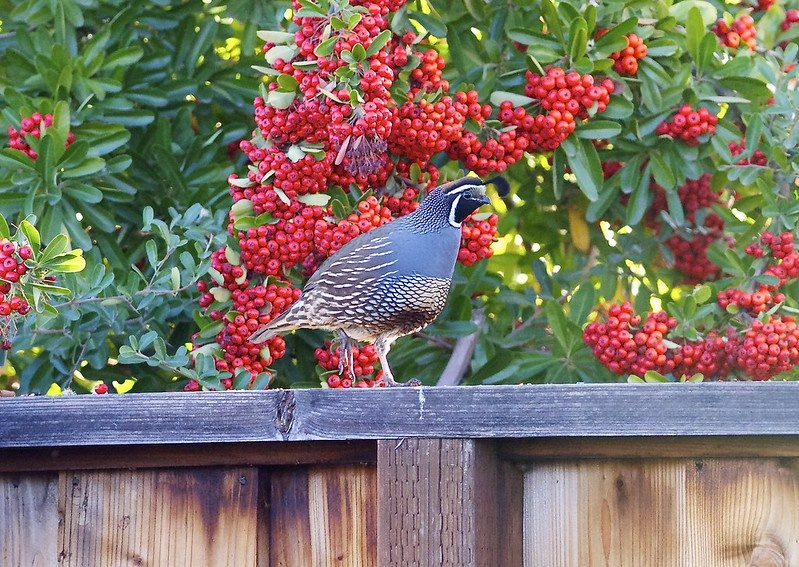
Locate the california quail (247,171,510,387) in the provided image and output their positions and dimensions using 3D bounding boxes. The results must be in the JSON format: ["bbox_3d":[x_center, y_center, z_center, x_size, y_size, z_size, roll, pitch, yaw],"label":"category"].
[{"bbox_3d":[-0.071,-0.011,6.200,0.825,0.792,0.285,1,-9,-5],"label":"california quail"}]
